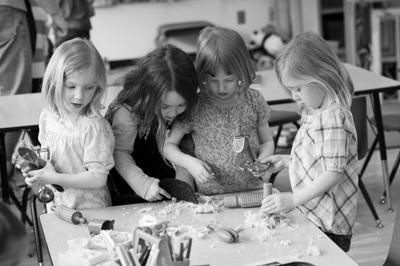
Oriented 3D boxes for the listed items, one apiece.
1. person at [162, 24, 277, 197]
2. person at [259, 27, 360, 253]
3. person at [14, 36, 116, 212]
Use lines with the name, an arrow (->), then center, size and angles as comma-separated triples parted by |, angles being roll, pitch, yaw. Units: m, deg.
person -> 0.119, 0.107, 2.198 | 0.560, 1.271, 0.455 | -2, 25, 6
person -> 0.495, 0.059, 1.857 | 0.425, 1.035, 0.353 | 0, 7, 21
person -> -0.654, -0.094, 1.952 | 0.440, 0.725, 0.242 | -2, 6, 8
